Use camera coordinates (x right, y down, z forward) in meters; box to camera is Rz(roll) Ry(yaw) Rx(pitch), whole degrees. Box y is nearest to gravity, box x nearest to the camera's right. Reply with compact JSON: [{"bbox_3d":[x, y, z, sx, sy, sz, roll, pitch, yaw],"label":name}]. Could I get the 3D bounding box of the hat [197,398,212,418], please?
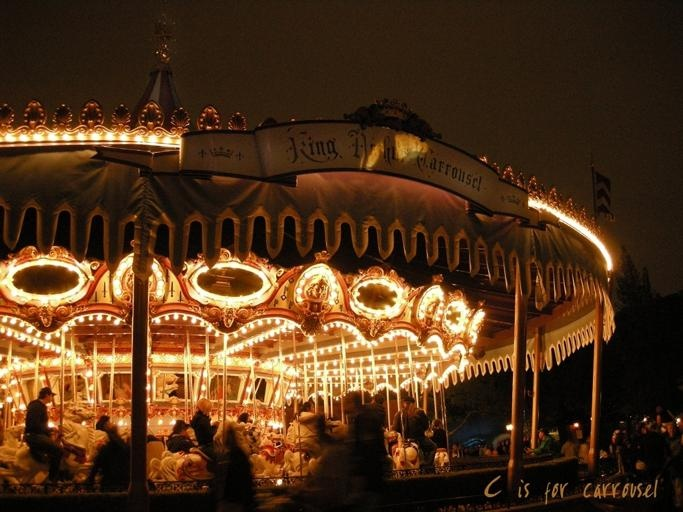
[{"bbox_3d":[-2.814,3.187,21.530,0.318,0.310,0.367,18,-26,-17],"label":"hat"}]
